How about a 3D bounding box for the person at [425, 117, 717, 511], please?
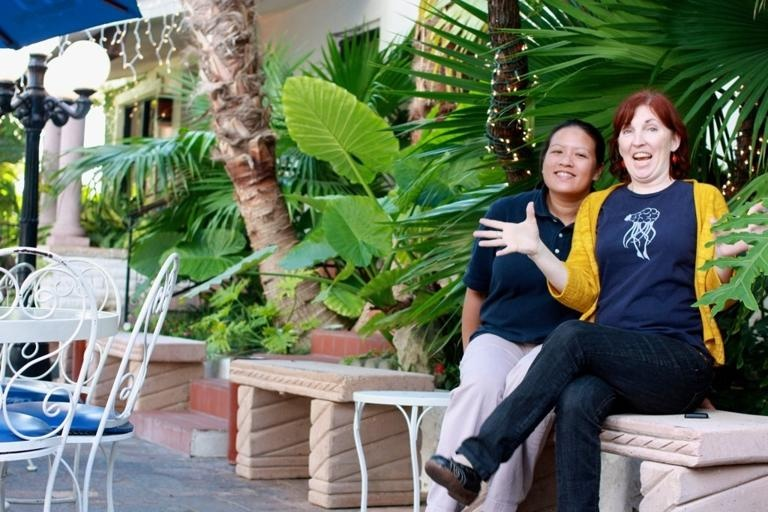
[{"bbox_3d":[0.798,0.182,2.804,1.036,1.533,0.428,3,-2,-8],"label":"person"}]
